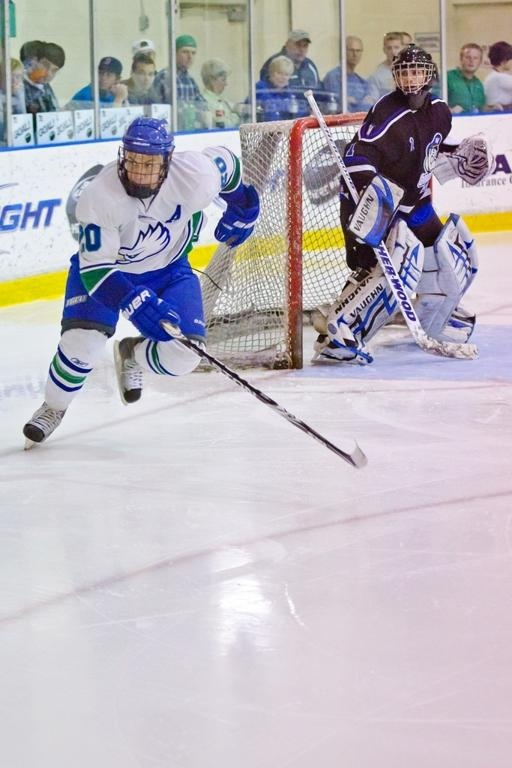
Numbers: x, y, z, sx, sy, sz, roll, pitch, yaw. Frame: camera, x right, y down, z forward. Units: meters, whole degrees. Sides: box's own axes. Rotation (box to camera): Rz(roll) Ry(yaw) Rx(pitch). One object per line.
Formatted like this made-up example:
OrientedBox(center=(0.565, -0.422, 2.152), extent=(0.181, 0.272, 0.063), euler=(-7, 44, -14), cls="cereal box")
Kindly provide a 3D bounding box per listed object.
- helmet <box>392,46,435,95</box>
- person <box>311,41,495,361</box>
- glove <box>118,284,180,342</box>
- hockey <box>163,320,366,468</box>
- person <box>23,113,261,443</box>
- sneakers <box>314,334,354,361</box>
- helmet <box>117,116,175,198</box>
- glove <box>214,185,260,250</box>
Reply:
OrientedBox(center=(0.722, -1.395, 3.435), extent=(0.195, 0.193, 0.231), euler=(0, 35, 21), cls="helmet")
OrientedBox(center=(0.689, -0.827, 3.631), extent=(1.006, 1.371, 0.766), euler=(-16, 25, -27), cls="person")
OrientedBox(center=(-0.320, -0.216, 2.321), extent=(0.197, 0.120, 0.063), euler=(43, 12, -2), cls="glove")
OrientedBox(center=(0.043, 0.045, 2.911), extent=(0.855, 0.097, 0.097), euler=(34, 52, 11), cls="hockey")
OrientedBox(center=(-0.379, -0.350, 2.550), extent=(0.669, 1.057, 0.865), euler=(26, 35, 31), cls="person")
OrientedBox(center=(0.348, -0.153, 3.587), extent=(0.157, 0.066, 0.120), euler=(31, -14, -17), cls="sneakers")
OrientedBox(center=(-0.330, -0.683, 2.304), extent=(0.174, 0.199, 0.207), euler=(8, 30, -3), cls="helmet")
OrientedBox(center=(-0.078, -0.618, 2.859), extent=(0.159, 0.228, 0.085), euler=(22, 28, -17), cls="glove")
